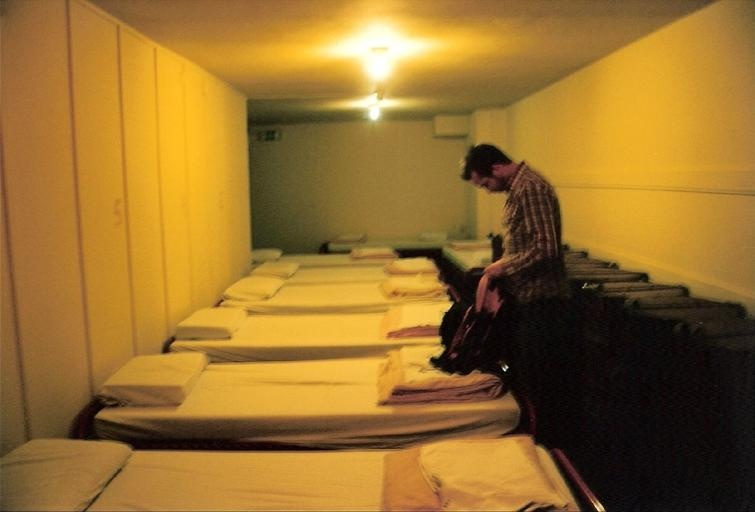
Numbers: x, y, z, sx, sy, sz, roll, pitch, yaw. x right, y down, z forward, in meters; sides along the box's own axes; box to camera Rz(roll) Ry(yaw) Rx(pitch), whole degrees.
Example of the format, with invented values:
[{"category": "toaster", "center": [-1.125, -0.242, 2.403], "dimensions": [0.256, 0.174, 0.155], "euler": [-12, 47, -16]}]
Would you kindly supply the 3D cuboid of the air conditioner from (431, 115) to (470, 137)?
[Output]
[{"category": "air conditioner", "center": [1.078, -1.850, 8.274], "dimensions": [0.497, 0.268, 0.231], "euler": [2, 7, 11]}]
